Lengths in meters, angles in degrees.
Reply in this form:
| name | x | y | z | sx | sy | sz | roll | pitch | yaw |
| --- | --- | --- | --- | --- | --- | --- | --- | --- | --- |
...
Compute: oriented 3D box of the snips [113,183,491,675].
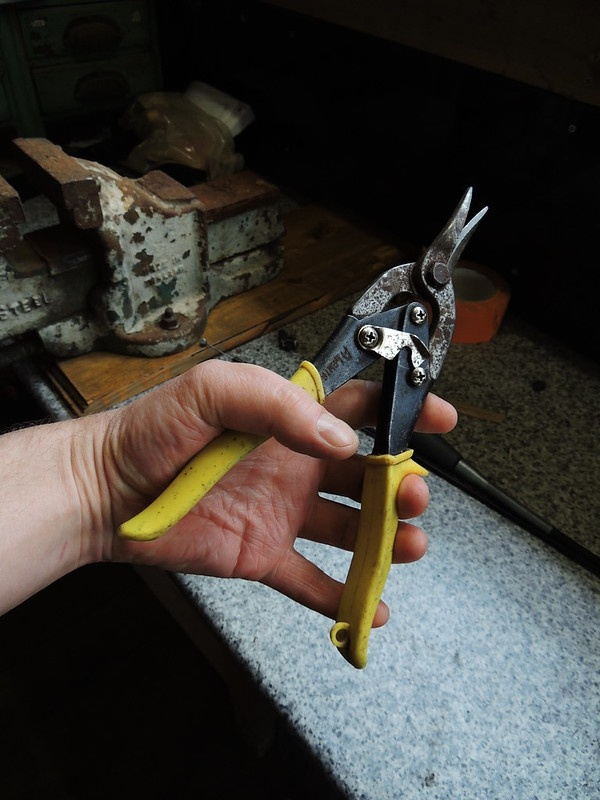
| name | x | y | z | sx | sy | sz | roll | pitch | yaw |
| --- | --- | --- | --- | --- | --- | --- | --- | --- | --- |
| snips | 0.027 | 0.001 | 0.572 | 0.191 | 0.281 | 0.376 | 15 | 42 | 12 |
